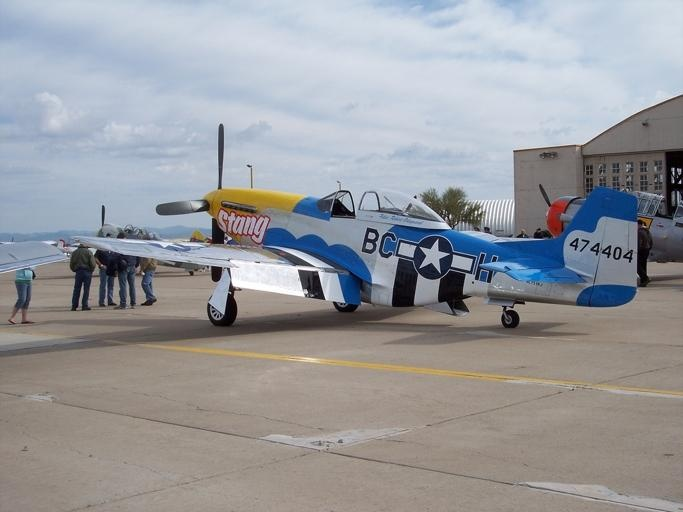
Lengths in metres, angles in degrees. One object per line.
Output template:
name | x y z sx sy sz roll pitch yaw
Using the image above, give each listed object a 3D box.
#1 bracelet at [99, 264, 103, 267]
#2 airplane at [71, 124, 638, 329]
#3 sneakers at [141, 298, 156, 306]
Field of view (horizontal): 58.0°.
bracelet | -6.383 0.226 16.178 0.085 0.063 0.045 3 43 0
airplane | 0.704 -0.101 11.616 8.817 2.825 3.287 0 3 23
sneakers | -5.252 1.222 16.479 0.447 0.109 0.175 -3 -19 28
